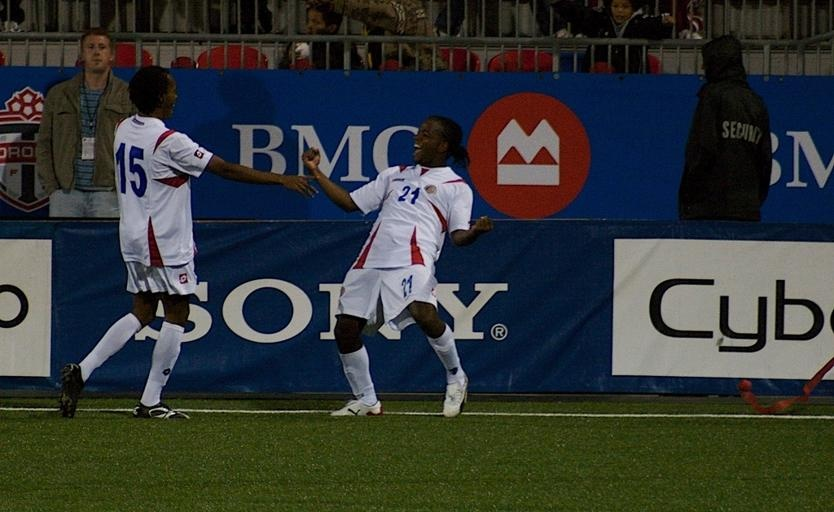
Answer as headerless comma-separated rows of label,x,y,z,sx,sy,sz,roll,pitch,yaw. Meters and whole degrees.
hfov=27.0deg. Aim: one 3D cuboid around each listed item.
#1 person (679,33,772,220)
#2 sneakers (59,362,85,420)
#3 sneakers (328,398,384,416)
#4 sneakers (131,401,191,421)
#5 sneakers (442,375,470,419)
person,2.994,-1.221,16.715,0.843,1.776,0.519,4,7,11
sneakers,-2.973,1.151,15.020,0.175,0.510,0.214,0,24,-17
sneakers,-0.511,1.329,15.349,0.451,0.148,0.160,2,-4,-1
sneakers,-2.238,1.358,15.207,0.535,0.190,0.173,0,-4,-3
sneakers,0.343,1.264,15.377,0.151,0.421,0.171,6,-16,30
